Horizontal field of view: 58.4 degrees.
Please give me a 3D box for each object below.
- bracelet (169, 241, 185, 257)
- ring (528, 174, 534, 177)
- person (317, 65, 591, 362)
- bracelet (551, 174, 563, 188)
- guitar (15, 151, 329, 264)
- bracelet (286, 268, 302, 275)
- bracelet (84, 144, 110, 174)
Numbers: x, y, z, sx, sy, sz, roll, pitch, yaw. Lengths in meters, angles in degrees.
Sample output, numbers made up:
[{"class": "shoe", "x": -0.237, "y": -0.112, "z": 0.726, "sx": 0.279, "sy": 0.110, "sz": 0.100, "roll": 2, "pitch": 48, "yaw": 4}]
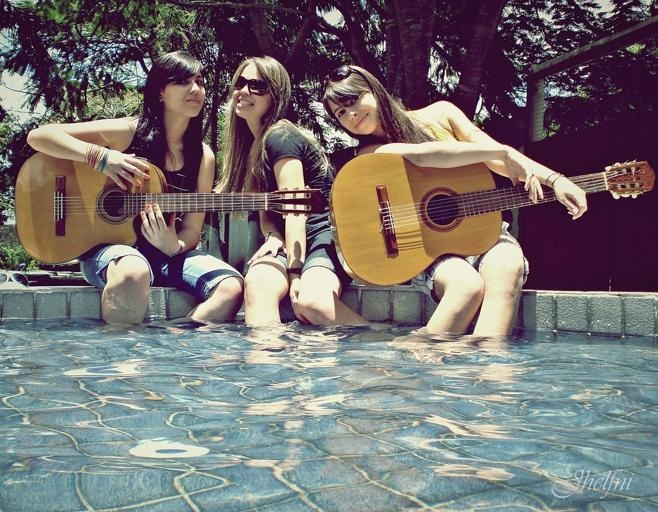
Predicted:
[{"class": "bracelet", "x": -0.846, "y": -0.038, "z": 3.350, "sx": 0.091, "sy": 0.085, "sz": 0.026, "roll": -12, "pitch": 17, "yaw": -24}, {"class": "ring", "x": 1.040, "y": -0.421, "z": 3.036, "sx": 0.030, "sy": 0.023, "sz": 0.047, "roll": 2, "pitch": 4, "yaw": 16}, {"class": "person", "x": 0.626, "y": -0.340, "z": 3.192, "sx": 0.830, "sy": 1.479, "sz": 1.201, "roll": -2, "pitch": 4, "yaw": -38}, {"class": "bracelet", "x": 1.172, "y": -0.392, "z": 3.043, "sx": 0.060, "sy": 0.076, "sz": 0.135, "roll": 2, "pitch": 4, "yaw": 20}, {"class": "guitar", "x": -1.013, "y": -0.263, "z": 3.286, "sx": 1.419, "sy": 0.616, "sz": 0.123, "roll": 1, "pitch": 3, "yaw": 0}, {"class": "bracelet", "x": -0.185, "y": 0.088, "z": 3.249, "sx": 0.077, "sy": 0.038, "sz": 0.035, "roll": 0, "pitch": 4, "yaw": -6}, {"class": "bracelet", "x": -1.224, "y": -0.529, "z": 3.143, "sx": 0.118, "sy": 0.143, "sz": 0.053, "roll": -3, "pitch": 40, "yaw": 3}]
